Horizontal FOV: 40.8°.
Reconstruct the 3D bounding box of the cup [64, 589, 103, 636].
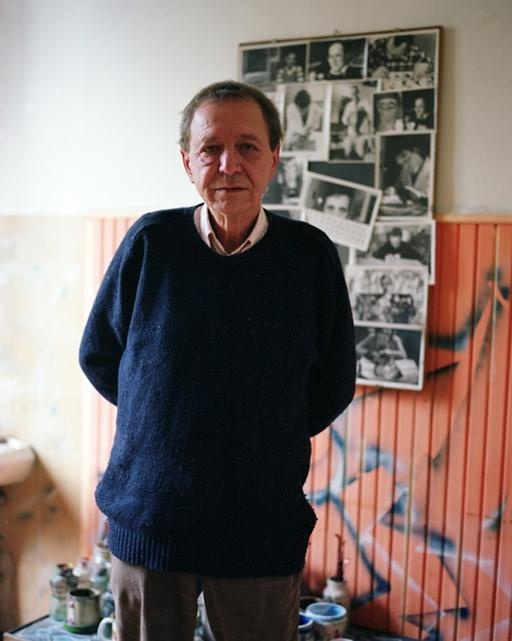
[{"bbox_3d":[-0.581,0.981,2.306,0.119,0.125,0.121,4,4,0],"label":"cup"}]
